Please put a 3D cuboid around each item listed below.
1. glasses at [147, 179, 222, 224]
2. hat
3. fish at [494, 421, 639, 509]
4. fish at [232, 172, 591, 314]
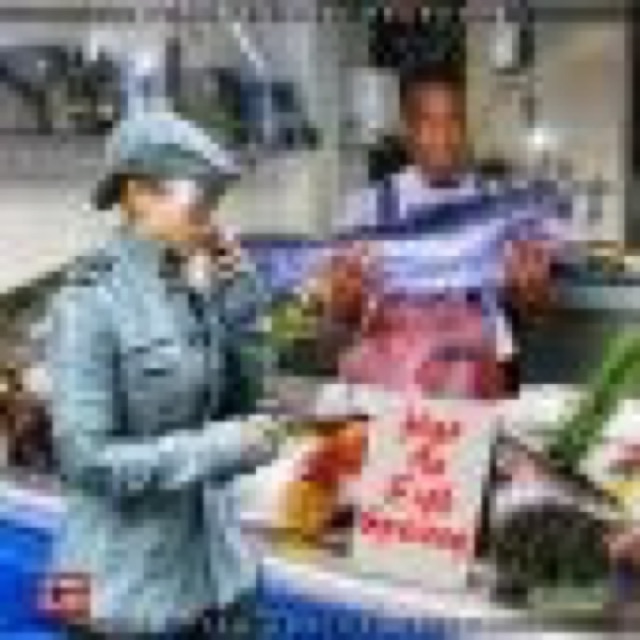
[{"bbox_3d":[-0.200,-0.183,0.817,0.075,0.028,0.064,19,12,22],"label":"glasses"},{"bbox_3d":[-0.249,-0.265,0.867,0.254,0.106,0.187,-5,2,18],"label":"hat"},{"bbox_3d":[0.459,0.275,1.013,0.178,0.028,0.120,24,12,31],"label":"fish"},{"bbox_3d":[0.323,-0.212,1.655,1.132,0.286,0.181,-12,11,-8],"label":"fish"}]
